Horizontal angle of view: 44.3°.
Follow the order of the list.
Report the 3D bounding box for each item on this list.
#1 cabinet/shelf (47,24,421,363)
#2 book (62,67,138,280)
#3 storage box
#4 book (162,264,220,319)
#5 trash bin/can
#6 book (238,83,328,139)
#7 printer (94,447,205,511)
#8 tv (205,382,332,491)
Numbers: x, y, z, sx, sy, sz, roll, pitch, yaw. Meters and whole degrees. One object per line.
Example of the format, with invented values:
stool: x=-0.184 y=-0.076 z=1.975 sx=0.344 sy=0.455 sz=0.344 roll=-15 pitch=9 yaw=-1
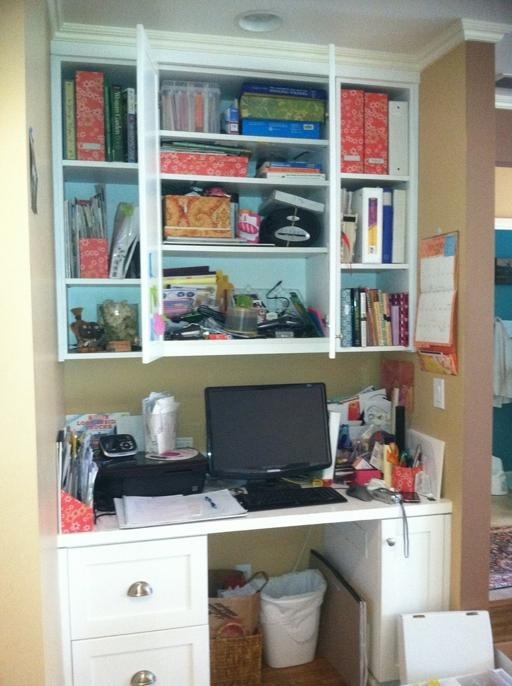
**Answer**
cabinet/shelf: x=-0.048 y=-0.497 z=2.791 sx=0.903 sy=1.408 sz=1.745 roll=-21 pitch=21 yaw=-17
book: x=-0.528 y=-0.570 z=2.154 sx=0.272 sy=0.697 sz=0.188 roll=-5 pitch=7 yaw=-9
storage box: x=-0.067 y=0.958 z=2.334 sx=0.251 sy=0.220 sz=0.148 roll=3 pitch=-10 yaw=-13
book: x=-0.250 y=-0.190 z=2.328 sx=0.226 sy=0.154 sz=0.066 roll=0 pitch=9 yaw=-18
trash bin/can: x=0.107 y=1.049 z=2.428 sx=0.328 sy=0.290 sz=0.274 roll=1 pitch=-10 yaw=-15
book: x=0.078 y=-0.818 z=2.286 sx=0.239 sy=0.144 sz=0.231 roll=0 pitch=4 yaw=-6
printer: x=-0.368 y=0.467 z=2.253 sx=0.319 sy=0.150 sz=0.401 roll=3 pitch=-4 yaw=-39
tv: x=0.033 y=0.355 z=2.300 sx=0.387 sy=0.271 sz=0.050 roll=-2 pitch=-13 yaw=-10
